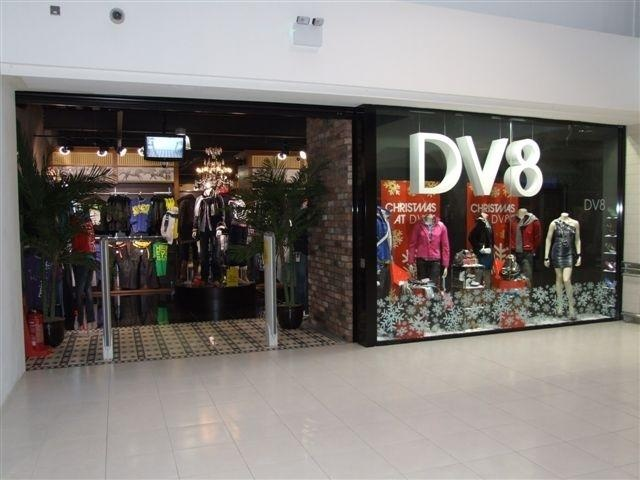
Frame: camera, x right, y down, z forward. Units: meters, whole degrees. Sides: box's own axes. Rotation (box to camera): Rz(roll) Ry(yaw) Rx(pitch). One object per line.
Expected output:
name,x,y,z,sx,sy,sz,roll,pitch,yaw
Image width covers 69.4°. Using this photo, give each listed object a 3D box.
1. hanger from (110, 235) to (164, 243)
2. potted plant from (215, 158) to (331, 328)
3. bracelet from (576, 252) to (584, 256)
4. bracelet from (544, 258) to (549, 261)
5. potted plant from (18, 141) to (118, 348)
hanger,-3.926,-0.019,9.828,0.974,0.153,0.098,2,6,-8
potted plant,-0.612,0.039,6.868,1.252,2.398,2.630,-1,4,-11
bracelet,3.813,0.209,6.764,0.042,0.048,0.048,-4,-7,43
bracelet,3.242,0.287,6.585,0.054,0.054,0.031,-4,10,-16
potted plant,-3.437,0.160,5.671,1.315,2.188,1.226,0,-8,-2
